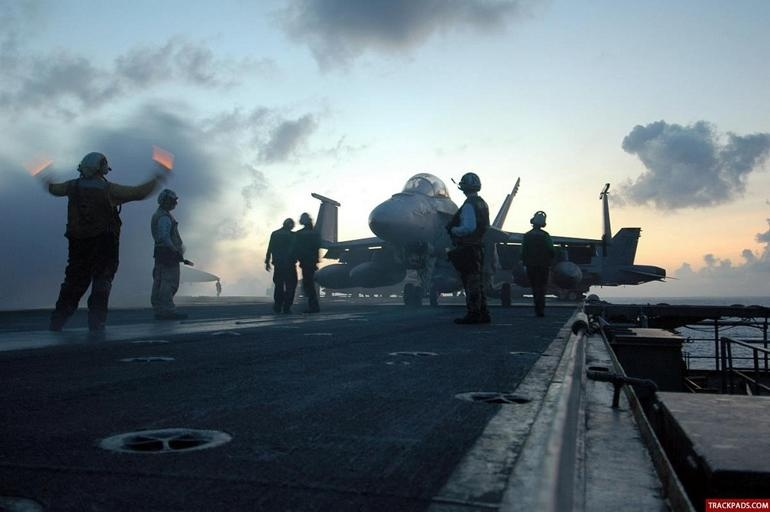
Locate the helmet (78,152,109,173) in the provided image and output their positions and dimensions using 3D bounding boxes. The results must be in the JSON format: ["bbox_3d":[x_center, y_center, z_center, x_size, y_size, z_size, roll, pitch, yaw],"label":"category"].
[{"bbox_3d":[-3.680,-1.195,7.879,0.300,0.243,0.275,-3,-1,-32],"label":"helmet"}]

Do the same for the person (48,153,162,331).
[{"bbox_3d":[-3.750,-0.179,8.016,1.194,2.262,0.777,-4,-2,-10],"label":"person"}]

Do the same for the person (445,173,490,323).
[{"bbox_3d":[1.395,-0.131,10.240,0.685,2.064,0.787,-4,-2,8],"label":"person"}]

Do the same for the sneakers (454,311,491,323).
[{"bbox_3d":[1.462,0.999,10.107,0.738,0.266,0.218,4,-5,-22],"label":"sneakers"}]
